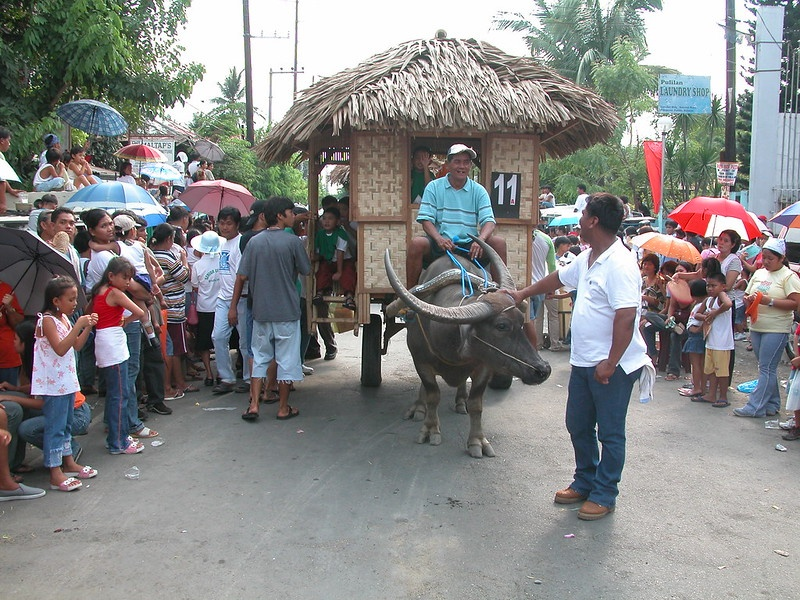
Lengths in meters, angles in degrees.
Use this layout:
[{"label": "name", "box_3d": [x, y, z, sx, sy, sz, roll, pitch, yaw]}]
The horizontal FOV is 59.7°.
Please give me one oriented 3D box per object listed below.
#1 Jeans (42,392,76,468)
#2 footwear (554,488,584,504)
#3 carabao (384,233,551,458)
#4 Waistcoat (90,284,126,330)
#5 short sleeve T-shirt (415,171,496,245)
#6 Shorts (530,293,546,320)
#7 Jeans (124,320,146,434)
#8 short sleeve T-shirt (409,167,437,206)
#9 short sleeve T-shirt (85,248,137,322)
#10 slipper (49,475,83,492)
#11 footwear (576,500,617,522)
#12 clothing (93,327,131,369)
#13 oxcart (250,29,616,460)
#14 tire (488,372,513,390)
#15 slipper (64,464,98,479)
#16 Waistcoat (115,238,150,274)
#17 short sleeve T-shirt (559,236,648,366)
[{"label": "Jeans", "box_3d": [-3.419, 1.245, 6.952, 0.270, 0.807, 0.363, 0, 6, -21]}, {"label": "footwear", "box_3d": [1.630, 1.916, 6.792, 0.296, 0.130, 0.123, 5, -5, -13]}, {"label": "carabao", "box_3d": [0.665, 0.497, 8.023, 1.547, 2.488, 3.224, 1, 8, -15]}, {"label": "Waistcoat", "box_3d": [-3.209, 0.011, 7.528, 0.247, 0.298, 0.409, -25, 52, -31]}, {"label": "short sleeve T-shirt", "box_3d": [0.613, -1.060, 8.487, 1.146, 1.087, 0.703, 2, -1, -2]}, {"label": "Shorts", "box_3d": [2.253, 0.108, 11.431, 0.167, 0.192, 0.709, -18, 12, 23]}, {"label": "Jeans", "box_3d": [-3.076, 0.901, 8.042, 0.272, 1.356, 0.341, -6, -5, -19]}, {"label": "short sleeve T-shirt", "box_3d": [0.272, -1.568, 9.525, 0.392, 0.584, 0.201, 1, -15, 1]}, {"label": "short sleeve T-shirt", "box_3d": [-3.181, -0.132, 7.656, 0.481, 0.956, 0.760, 1, 3, 0]}, {"label": "slipper", "box_3d": [-3.248, 1.805, 6.826, 0.227, 0.090, 0.126, -1, -1, 22]}, {"label": "footwear", "box_3d": [1.845, 1.994, 6.521, 0.362, 0.155, 0.133, 9, -14, -32]}, {"label": "clothing", "box_3d": [-3.146, 0.476, 7.579, 0.340, 0.466, 0.256, -9, 19, -14]}, {"label": "oxcart", "box_3d": [0.283, -0.755, 10.630, 4.286, 5.212, 4.906, 0, 2, -4]}, {"label": "tire", "box_3d": [1.445, 1.182, 10.115, 0.327, 0.343, 0.339, -1, 4, -18]}, {"label": "slipper", "box_3d": [-3.217, 1.746, 7.083, 0.251, 0.089, 0.122, 2, 5, 2]}, {"label": "Waistcoat", "box_3d": [-3.245, -0.525, 8.473, 0.315, 0.505, 0.149, -13, 32, -5]}, {"label": "short sleeve T-shirt", "box_3d": [1.963, 0.006, 6.867, 0.700, 1.230, 1.300, -6, 11, -20]}]
